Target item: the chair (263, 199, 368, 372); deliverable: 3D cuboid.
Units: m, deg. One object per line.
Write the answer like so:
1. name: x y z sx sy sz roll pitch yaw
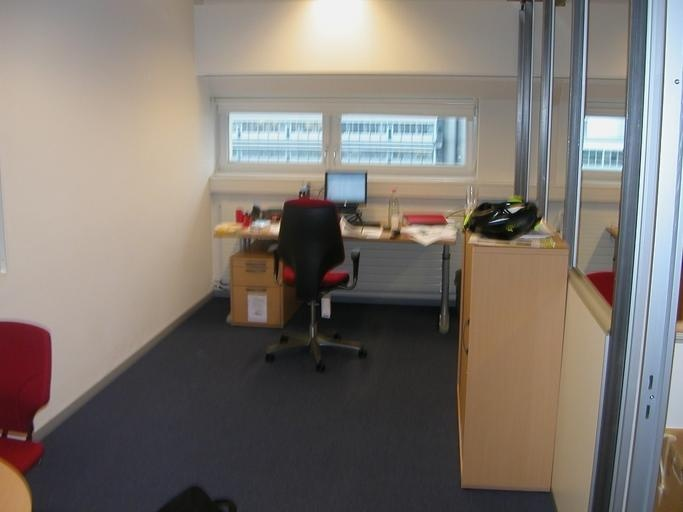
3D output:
1. chair: -0.244 0.153 4.656 0.971 1.674 1.144 0 4 -1

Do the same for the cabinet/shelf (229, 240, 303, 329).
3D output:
1. cabinet/shelf: -0.708 0.289 5.218 0.430 0.655 0.712 1 13 7

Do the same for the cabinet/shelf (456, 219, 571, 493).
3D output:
1. cabinet/shelf: 0.918 0.547 2.885 0.394 1.188 1.218 2 9 13

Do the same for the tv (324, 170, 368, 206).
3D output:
1. tv: 0.030 -0.658 5.394 0.465 0.377 0.286 2 16 4
